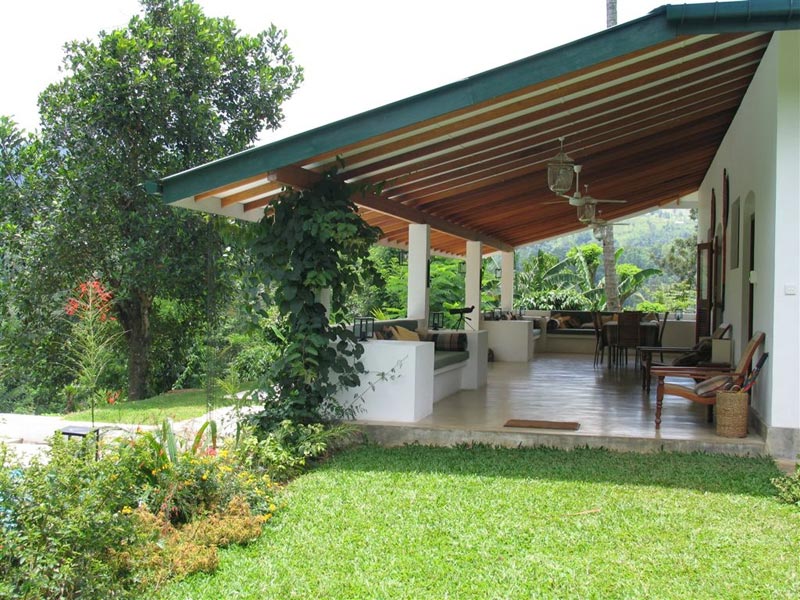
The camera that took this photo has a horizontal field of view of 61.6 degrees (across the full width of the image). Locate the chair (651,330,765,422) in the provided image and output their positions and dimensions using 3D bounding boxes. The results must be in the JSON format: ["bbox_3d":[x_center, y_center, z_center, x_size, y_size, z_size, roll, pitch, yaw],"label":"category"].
[{"bbox_3d":[3.582,0.906,7.787,1.007,1.351,0.941,0,-1,23],"label":"chair"}]

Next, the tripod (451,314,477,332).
[{"bbox_3d":[1.387,0.487,14.754,0.380,0.532,0.390,-1,-25,8],"label":"tripod"}]

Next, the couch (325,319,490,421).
[{"bbox_3d":[0.254,0.849,9.179,1.101,0.986,2.876,-1,2,23],"label":"couch"}]

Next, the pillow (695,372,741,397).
[{"bbox_3d":[3.533,0.955,7.522,0.311,0.107,0.307,-19,1,-13],"label":"pillow"}]

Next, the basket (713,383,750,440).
[{"bbox_3d":[3.472,1.193,7.182,0.429,0.662,0.461,0,0,23],"label":"basket"}]

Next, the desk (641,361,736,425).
[{"bbox_3d":[3.510,1.165,8.023,1.140,0.722,0.931,-3,-7,21],"label":"desk"}]
